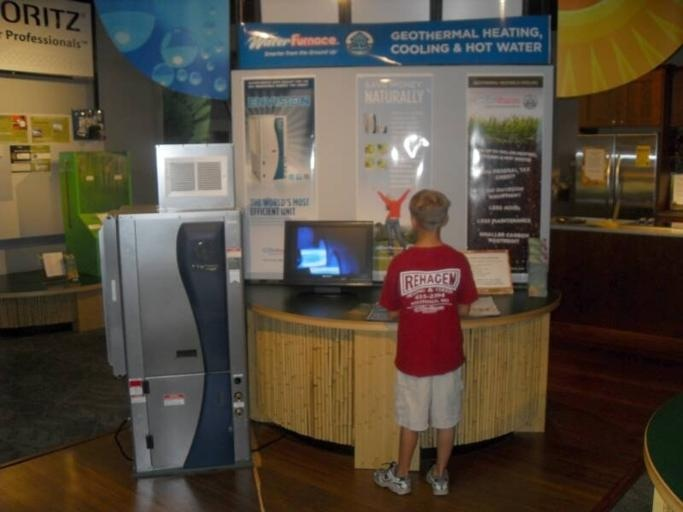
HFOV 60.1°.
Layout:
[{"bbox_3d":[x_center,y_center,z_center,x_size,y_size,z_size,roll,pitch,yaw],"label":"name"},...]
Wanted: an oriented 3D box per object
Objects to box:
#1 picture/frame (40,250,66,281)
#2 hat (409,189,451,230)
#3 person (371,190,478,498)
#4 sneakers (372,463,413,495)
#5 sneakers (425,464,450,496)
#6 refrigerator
[{"bbox_3d":[-3.330,0.110,6.804,0.240,0.281,0.132,-8,15,-29],"label":"picture/frame"},{"bbox_3d":[0.529,-0.278,3.570,0.196,0.245,0.252,-1,24,4],"label":"hat"},{"bbox_3d":[0.525,0.560,3.708,0.623,1.900,0.369,1,13,4],"label":"person"},{"bbox_3d":[0.330,1.441,3.875,0.119,0.160,0.278,-1,10,-45],"label":"sneakers"},{"bbox_3d":[0.625,1.443,3.786,0.086,0.096,0.197,1,8,0],"label":"sneakers"},{"bbox_3d":[3.506,-1.018,7.577,0.960,1.077,0.322,5,14,19],"label":"refrigerator"}]
